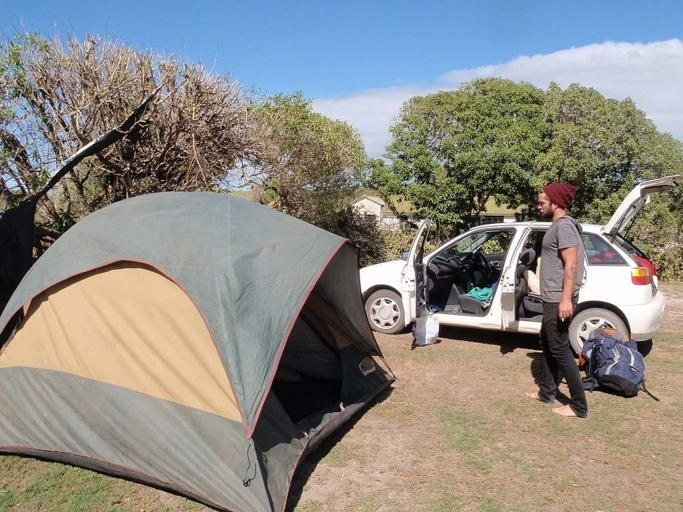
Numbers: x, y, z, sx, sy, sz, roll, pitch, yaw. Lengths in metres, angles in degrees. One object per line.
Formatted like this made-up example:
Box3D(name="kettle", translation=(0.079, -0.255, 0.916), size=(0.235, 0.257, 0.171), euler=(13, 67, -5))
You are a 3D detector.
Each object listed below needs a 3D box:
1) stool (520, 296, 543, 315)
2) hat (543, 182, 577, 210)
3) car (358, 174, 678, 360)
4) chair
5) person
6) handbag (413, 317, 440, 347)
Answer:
Box3D(name="stool", translation=(3.028, 0.778, 7.063), size=(0.287, 0.157, 0.393), euler=(5, 6, 5))
Box3D(name="hat", translation=(2.576, -0.700, 5.192), size=(0.363, 0.299, 0.283), euler=(7, 13, 14))
Box3D(name="car", translation=(2.848, 0.321, 7.843), size=(4.584, 2.441, 3.274), euler=(4, 5, 26))
Box3D(name="chair", translation=(2.589, 0.385, 7.310), size=(1.267, 1.115, 0.796), euler=(4, 7, 34))
Box3D(name="person", translation=(2.554, 0.522, 5.097), size=(0.604, 2.690, 0.716), euler=(3, 9, 20))
Box3D(name="handbag", translation=(1.366, 1.216, 7.218), size=(0.368, 0.481, 0.495), euler=(0, -13, 3))
